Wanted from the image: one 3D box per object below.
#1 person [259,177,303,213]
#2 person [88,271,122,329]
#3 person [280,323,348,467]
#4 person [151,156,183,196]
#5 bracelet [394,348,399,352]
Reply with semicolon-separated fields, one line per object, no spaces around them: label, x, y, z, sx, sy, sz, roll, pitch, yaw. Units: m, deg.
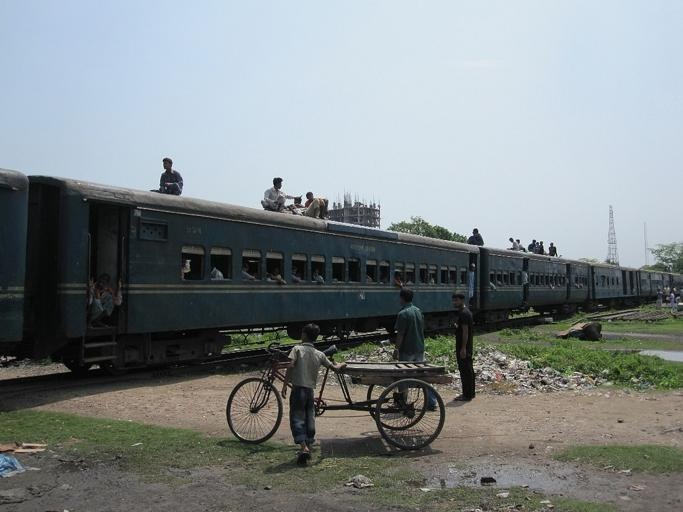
person;-2.014;-1.802;16.911;0.745;1.296;1.228;5;5;33
person;-5.229;0.968;11.774;0.755;1.238;0.603;1;0;-44
person;-0.486;1.831;7.350;0.561;1.844;0.751;0;0;34
person;-4.804;-1.906;14.868;0.715;1.489;0.729;3;-1;-13
bracelet;0.937;1.591;9.055;0.084;0.058;0.088;1;-7;-10
